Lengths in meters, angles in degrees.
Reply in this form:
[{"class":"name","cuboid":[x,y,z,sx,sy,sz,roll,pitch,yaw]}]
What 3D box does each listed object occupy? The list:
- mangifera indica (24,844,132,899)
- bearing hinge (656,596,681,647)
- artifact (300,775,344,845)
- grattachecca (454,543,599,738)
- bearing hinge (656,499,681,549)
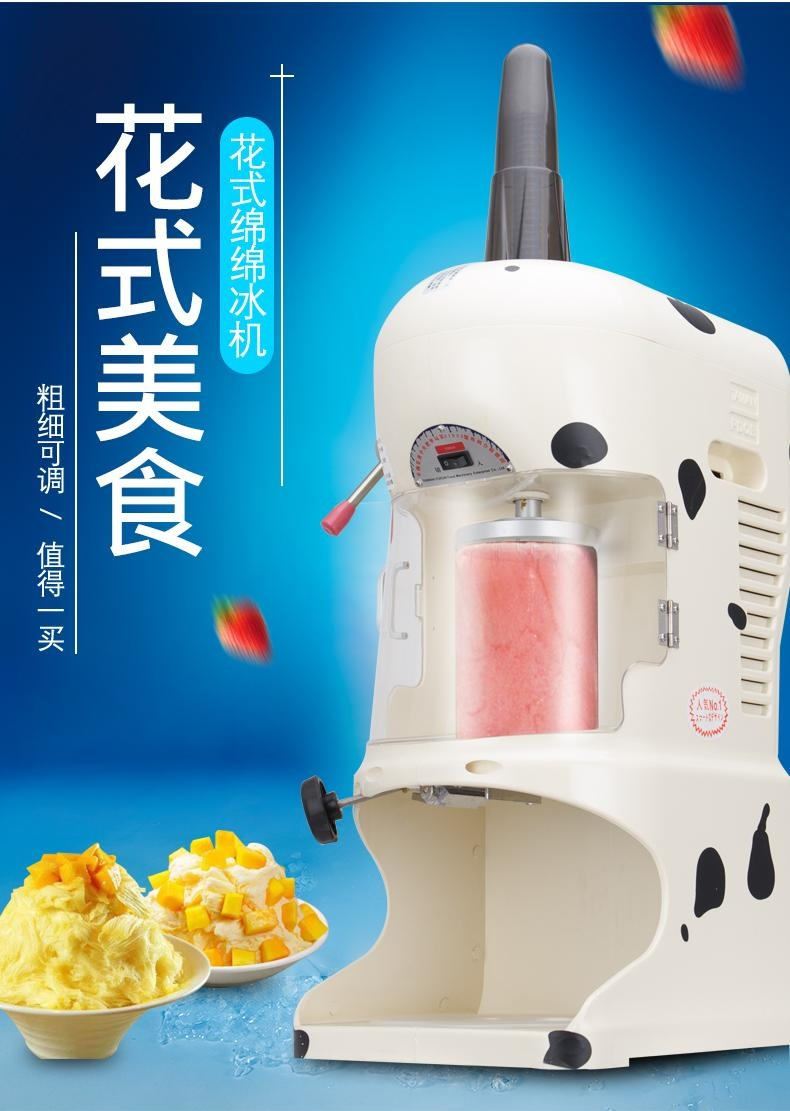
[{"class":"mangifera indica","cuboid":[-0.454,0.462,1.983,0.164,0.067,0.113,0,-2,-19]},{"class":"bearing hinge","cuboid":[0.417,0.105,2.052,0.031,0.072,0.012,0,-1,-1]},{"class":"artifact","cuboid":[-0.107,0.398,2.089,0.044,0.095,0.099,-14,1,-1]},{"class":"grattachecca","cuboid":[0.197,0.125,2.010,0.205,0.289,0.139,0,-1,4]},{"class":"bearing hinge","cuboid":[0.417,-0.046,2.061,0.033,0.073,0.012,0,-1,-5]}]
